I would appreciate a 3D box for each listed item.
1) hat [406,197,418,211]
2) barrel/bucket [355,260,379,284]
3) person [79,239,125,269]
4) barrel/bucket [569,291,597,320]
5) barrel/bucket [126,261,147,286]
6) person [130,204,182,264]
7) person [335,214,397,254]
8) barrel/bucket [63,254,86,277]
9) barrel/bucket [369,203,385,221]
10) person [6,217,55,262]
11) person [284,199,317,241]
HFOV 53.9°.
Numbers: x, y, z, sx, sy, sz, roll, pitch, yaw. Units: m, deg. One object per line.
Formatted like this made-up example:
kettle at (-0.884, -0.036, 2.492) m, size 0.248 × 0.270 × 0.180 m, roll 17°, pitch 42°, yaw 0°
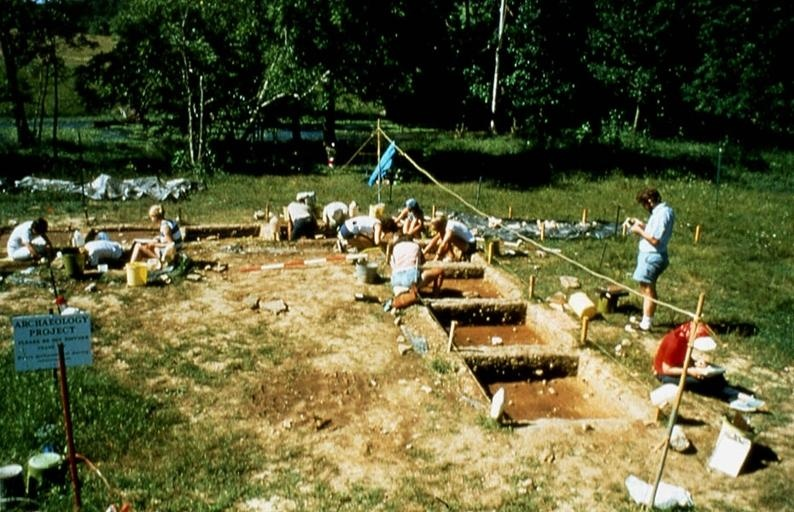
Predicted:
hat at (0.482, -1.614, 24.446) m, size 0.374 × 0.436 × 0.503 m, roll -1°, pitch 12°, yaw -1°
barrel/bucket at (-0.865, 0.480, 22.580) m, size 0.579 × 0.480 × 0.607 m, roll 2°, pitch 13°, yaw 0°
person at (-8.664, -0.022, 22.929) m, size 0.954 × 0.356 × 0.718 m, roll 1°, pitch 57°, yaw -30°
barrel/bucket at (5.073, 1.336, 21.555) m, size 0.665 × 0.710 × 1.076 m, roll 5°, pitch 11°, yaw -1°
barrel/bucket at (-7.397, 0.512, 22.329) m, size 0.542 × 0.620 × 0.597 m, roll 1°, pitch 3°, yaw -2°
person at (-7.014, -0.598, 22.770) m, size 1.292 × 1.761 × 1.037 m, roll 19°, pitch 23°, yaw 41°
person at (-0.940, -0.698, 24.318) m, size 1.528 × 0.888 × 1.037 m, roll -6°, pitch 27°, yaw -10°
barrel/bucket at (-9.185, 0.282, 22.184) m, size 0.536 × 0.619 × 0.591 m, roll -1°, pitch -3°, yaw -5°
barrel/bucket at (-0.646, -1.502, 26.048) m, size 0.516 × 0.630 × 0.573 m, roll 8°, pitch 21°, yaw 3°
person at (-10.809, -0.417, 23.035) m, size 0.945 × 1.004 × 0.665 m, roll 29°, pitch 35°, yaw 2°
person at (-3.125, -1.145, 25.582) m, size 0.582 × 0.962 × 1.678 m, roll -4°, pitch 24°, yaw -10°
